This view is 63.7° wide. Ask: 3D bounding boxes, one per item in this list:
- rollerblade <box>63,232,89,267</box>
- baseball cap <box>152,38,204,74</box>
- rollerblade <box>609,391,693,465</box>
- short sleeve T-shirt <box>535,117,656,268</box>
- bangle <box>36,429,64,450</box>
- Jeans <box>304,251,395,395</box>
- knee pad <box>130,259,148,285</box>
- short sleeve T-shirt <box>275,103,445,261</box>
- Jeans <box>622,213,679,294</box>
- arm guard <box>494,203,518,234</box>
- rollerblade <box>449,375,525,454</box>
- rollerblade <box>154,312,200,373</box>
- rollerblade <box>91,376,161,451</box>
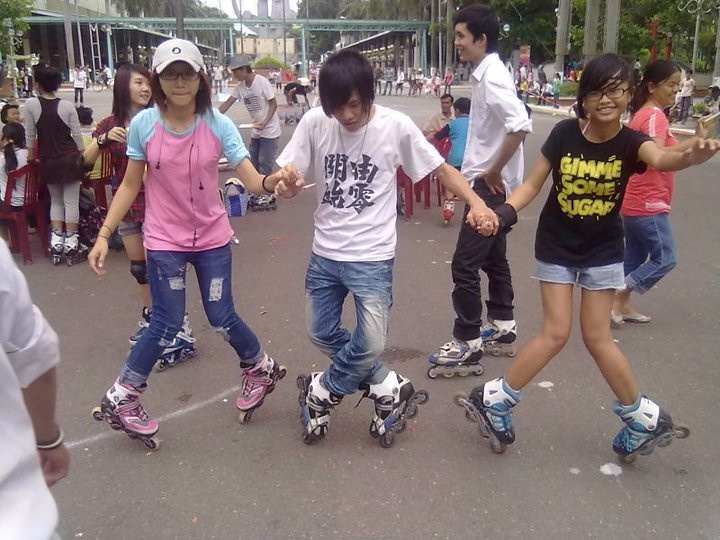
[{"bbox_3d":[-3.561,-0.246,7.152,0.145,0.347,0.466,4,20,10],"label":"rollerblade"},{"bbox_3d":[-1.079,-1.249,3.382,0.294,0.185,0.236,-8,21,-19],"label":"baseball cap"},{"bbox_3d":[1.709,0.946,3.397,0.334,0.334,0.122,-29,27,32],"label":"rollerblade"},{"bbox_3d":[1.268,-0.421,3.225,0.549,0.780,0.336,10,21,28],"label":"short sleeve T-shirt"},{"bbox_3d":[-0.964,0.513,1.785,0.059,0.023,0.054,-10,14,-43],"label":"bangle"},{"bbox_3d":[-0.081,0.335,3.443,0.516,0.790,0.381,2,19,6],"label":"Jeans"},{"bbox_3d":[-1.820,0.013,4.827,0.160,0.194,0.206,-2,1,-3],"label":"knee pad"},{"bbox_3d":[-0.013,-0.500,3.391,0.892,0.824,0.387,5,19,14],"label":"short sleeve T-shirt"},{"bbox_3d":[2.545,-0.134,5.094,0.398,0.818,0.373,-12,32,-1],"label":"Jeans"},{"bbox_3d":[0.858,-0.297,3.402,0.115,0.217,0.272,6,21,18],"label":"arm guard"},{"bbox_3d":[0.787,0.906,3.542,0.106,0.364,0.350,-30,-9,-38],"label":"rollerblade"},{"bbox_3d":[-1.335,0.543,4.148,0.293,0.194,0.402,-19,-18,-20],"label":"rollerblade"},{"bbox_3d":[-1.468,0.910,3.599,0.294,0.343,0.137,24,20,-6],"label":"rollerblade"}]
